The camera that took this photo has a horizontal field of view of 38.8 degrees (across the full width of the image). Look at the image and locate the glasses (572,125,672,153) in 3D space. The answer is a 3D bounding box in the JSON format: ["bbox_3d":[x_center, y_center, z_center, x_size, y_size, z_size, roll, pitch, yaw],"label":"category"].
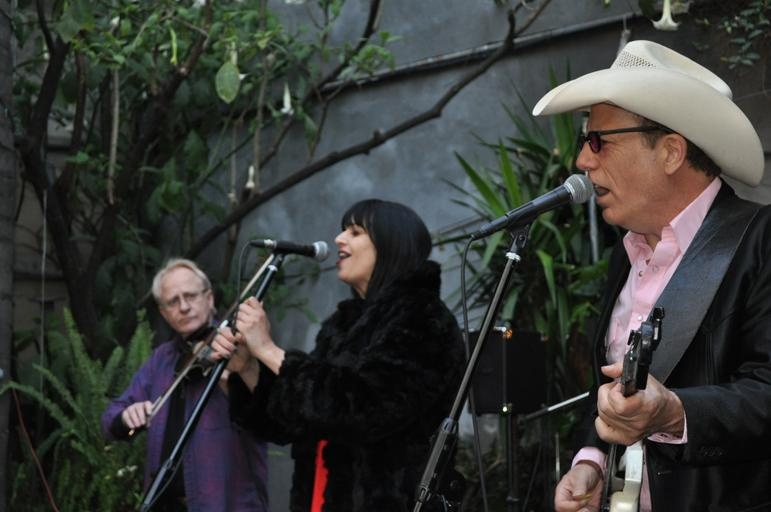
[{"bbox_3d":[1.109,-0.568,5.430,0.349,0.135,0.224,-4,3,-6],"label":"glasses"}]

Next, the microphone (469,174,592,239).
[{"bbox_3d":[0.924,-0.319,6.995,0.671,0.204,0.196,-24,-56,-6],"label":"microphone"}]
